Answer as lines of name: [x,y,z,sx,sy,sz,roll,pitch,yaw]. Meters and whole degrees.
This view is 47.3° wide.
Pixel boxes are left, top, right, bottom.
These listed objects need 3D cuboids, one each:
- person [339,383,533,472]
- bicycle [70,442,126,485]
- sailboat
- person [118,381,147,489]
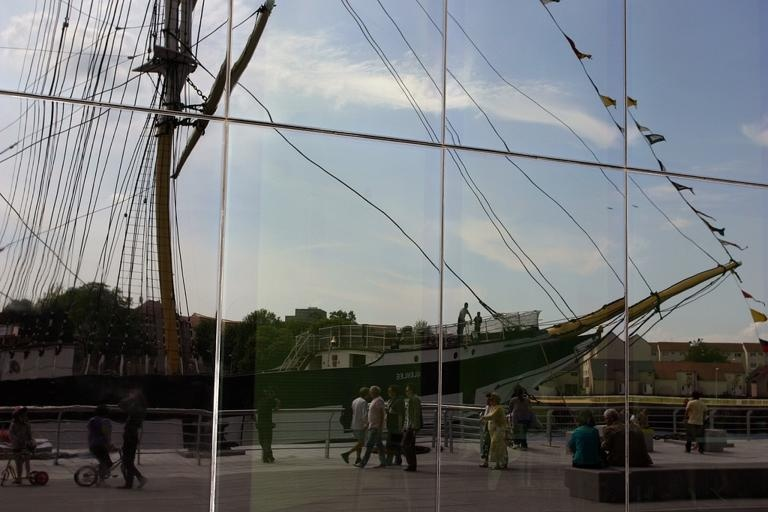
person: [0.549,2.463,12.538,2.332,1.181,0.493,1,-10,-6]
bicycle: [-3.592,2.759,11.509,0.866,0.542,0.407,-2,15,-18]
sailboat: [-0.519,-0.985,17.133,11.316,9.250,4.540,-3,-1,-15]
person: [-3.272,2.400,11.547,0.323,1.295,0.130,2,-10,-12]
